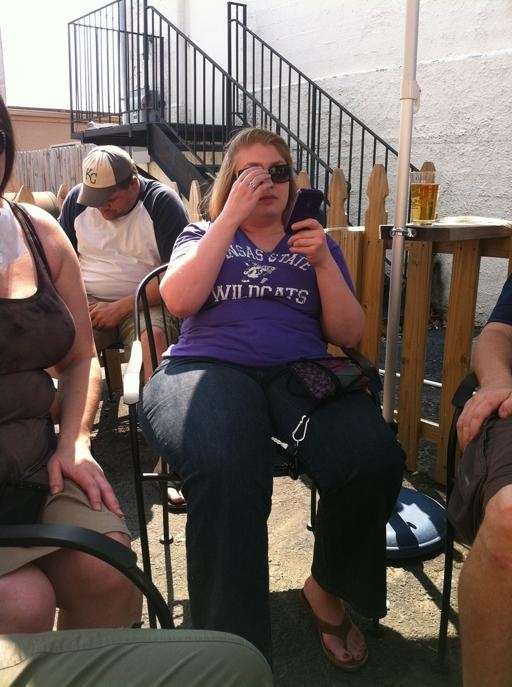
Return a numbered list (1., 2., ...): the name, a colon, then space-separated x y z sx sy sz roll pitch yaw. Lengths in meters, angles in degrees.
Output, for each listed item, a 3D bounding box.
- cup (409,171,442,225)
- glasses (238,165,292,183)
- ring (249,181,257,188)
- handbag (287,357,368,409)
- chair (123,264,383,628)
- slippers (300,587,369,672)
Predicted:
1. cup: 0.728 -0.631 2.349 0.109 0.214 0.220 1 10 16
2. glasses: 0.075 -0.588 1.881 0.102 0.034 0.100 -7 3 -35
3. ring: -0.010 -0.516 1.747 0.021 0.019 0.007 -6 3 -20
4. handbag: 0.221 0.112 1.644 0.187 0.069 0.131 -6 12 -24
5. chair: -0.045 0.322 1.615 0.495 0.778 0.510 0 10 6
6. slippers: 0.238 0.831 1.632 0.101 0.062 0.277 -28 22 -14
